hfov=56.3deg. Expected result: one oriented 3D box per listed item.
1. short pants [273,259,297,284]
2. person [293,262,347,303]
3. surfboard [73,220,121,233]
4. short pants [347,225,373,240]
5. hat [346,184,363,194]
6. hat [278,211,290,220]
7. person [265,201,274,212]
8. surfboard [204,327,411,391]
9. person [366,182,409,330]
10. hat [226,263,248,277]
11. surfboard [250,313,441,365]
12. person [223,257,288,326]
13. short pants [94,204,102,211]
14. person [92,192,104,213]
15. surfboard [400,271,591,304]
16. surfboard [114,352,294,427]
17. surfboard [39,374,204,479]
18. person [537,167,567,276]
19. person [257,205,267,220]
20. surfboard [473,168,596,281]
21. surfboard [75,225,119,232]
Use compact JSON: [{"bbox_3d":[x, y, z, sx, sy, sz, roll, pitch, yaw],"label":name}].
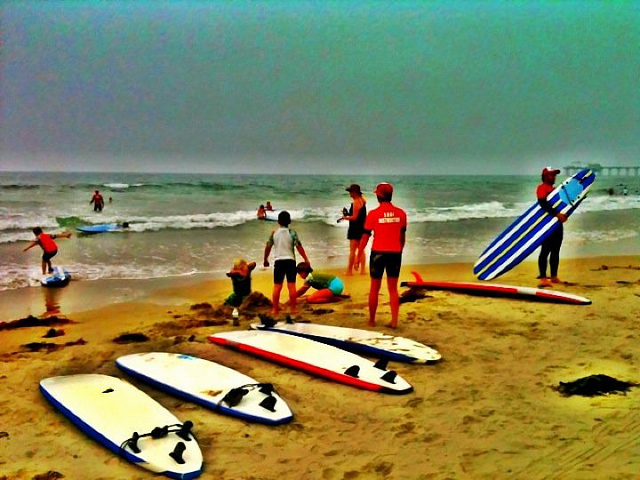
[{"bbox_3d":[-0.479,0.441,8.330,0.299,0.371,0.207,-1,10,-4],"label":"short pants"},{"bbox_3d":[0.023,0.684,9.702,1.080,0.534,0.790,4,8,22],"label":"person"},{"bbox_3d":[-6.557,-0.352,18.376,0.501,0.248,1.977,8,11,23],"label":"surfboard"},{"bbox_3d":[0.673,-0.190,10.990,0.494,0.282,0.284,-1,2,20],"label":"short pants"},{"bbox_3d":[0.629,-0.906,10.747,0.171,0.154,0.377,-1,8,-2],"label":"hat"},{"bbox_3d":[-0.486,-0.333,8.191,0.145,0.122,0.245,-1,8,-2],"label":"hat"},{"bbox_3d":[-2.061,-1.347,24.524,0.319,0.344,0.961,-2,-2,-5],"label":"person"},{"bbox_3d":[-0.239,1.339,7.015,2.657,0.330,0.726,11,14,36],"label":"surfboard"},{"bbox_3d":[0.855,0.225,7.759,0.499,1.898,0.478,1,10,6],"label":"person"},{"bbox_3d":[-1.174,0.449,8.575,0.232,0.080,0.216,-16,-1,1],"label":"hat"},{"bbox_3d":[0.340,1.248,7.402,1.463,0.212,0.334,9,13,36],"label":"surfboard"},{"bbox_3d":[-0.984,0.837,9.219,0.971,1.077,0.645,0,16,10],"label":"person"},{"bbox_3d":[-8.683,-1.306,23.564,0.216,0.317,0.267,3,-12,0],"label":"short pants"},{"bbox_3d":[-8.792,-1.455,23.827,0.347,0.753,0.750,-4,10,-20],"label":"person"},{"bbox_3d":[2.879,0.789,9.635,2.810,0.271,0.419,2,4,34],"label":"surfboard"},{"bbox_3d":[-1.278,1.532,6.408,2.259,0.270,0.695,10,10,37],"label":"surfboard"},{"bbox_3d":[-1.982,1.724,5.867,0.694,0.410,2.224,-14,25,-43],"label":"surfboard"},{"bbox_3d":[3.710,-0.270,9.656,0.442,1.794,1.249,3,10,20],"label":"person"},{"bbox_3d":[-2.248,-1.067,23.489,0.366,0.511,0.738,-1,9,-6],"label":"person"},{"bbox_3d":[3.726,-0.242,10.495,1.433,1.961,1.439,8,12,40],"label":"surfboard"},{"bbox_3d":[-6.643,-0.341,18.046,0.372,0.226,1.677,14,6,14],"label":"surfboard"}]
